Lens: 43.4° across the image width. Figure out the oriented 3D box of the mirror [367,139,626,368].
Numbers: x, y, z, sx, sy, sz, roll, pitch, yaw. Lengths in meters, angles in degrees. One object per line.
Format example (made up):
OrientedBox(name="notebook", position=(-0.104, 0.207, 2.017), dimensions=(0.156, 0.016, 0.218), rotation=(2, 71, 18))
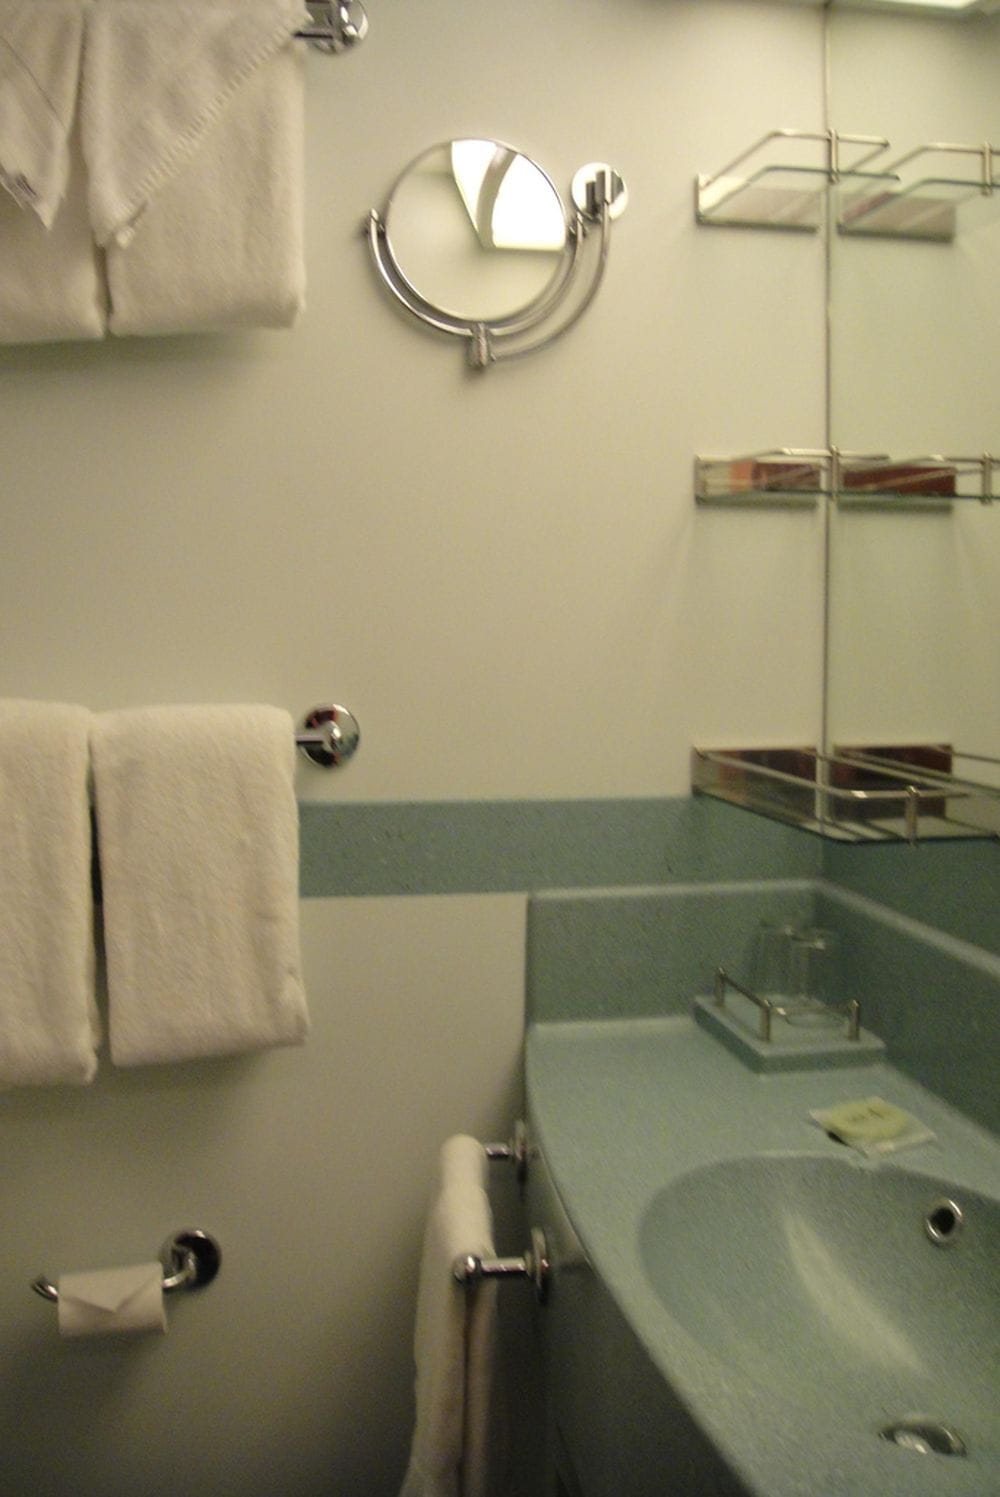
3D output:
OrientedBox(name="mirror", position=(-0.018, -0.556, 1.384), dimensions=(0.170, 0.218, 0.035), rotation=(1, 8, -16))
